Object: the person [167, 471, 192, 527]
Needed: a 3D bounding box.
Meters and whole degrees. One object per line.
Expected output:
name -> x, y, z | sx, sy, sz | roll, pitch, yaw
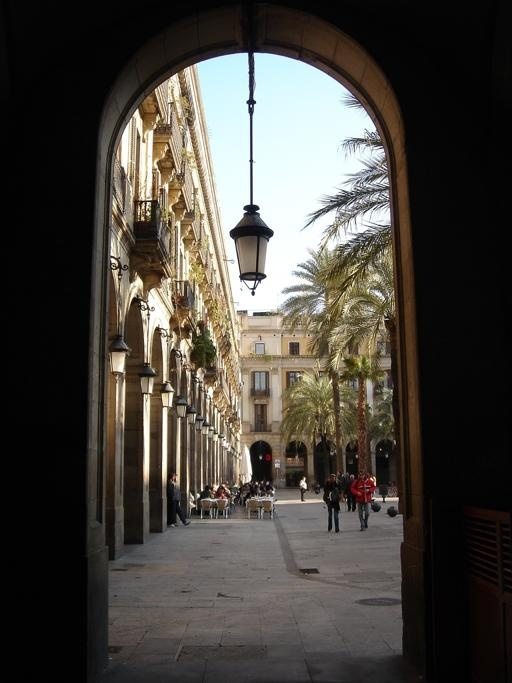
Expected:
person -> -2.730, 5.477, 22.346 | 0.699, 1.862, 4.156 | -1, -11, -7
